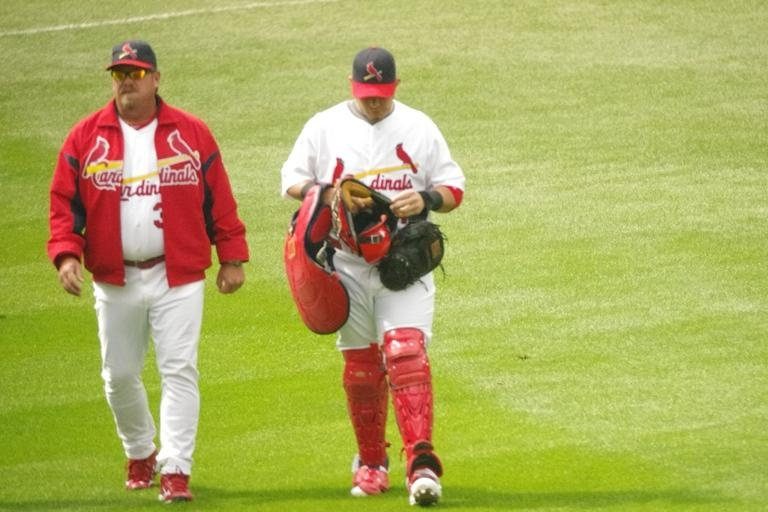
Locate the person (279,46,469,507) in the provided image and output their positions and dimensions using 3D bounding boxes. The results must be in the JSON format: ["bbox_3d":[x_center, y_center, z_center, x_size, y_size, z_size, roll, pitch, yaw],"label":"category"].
[{"bbox_3d":[-0.055,0.108,6.934,1.015,2.702,0.642,0,6,8],"label":"person"}]

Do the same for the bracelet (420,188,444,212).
[{"bbox_3d":[0.297,-0.335,6.962,0.148,0.100,0.124,-1,-20,27],"label":"bracelet"}]

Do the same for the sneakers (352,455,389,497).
[{"bbox_3d":[-0.087,1.325,7.157,0.245,0.115,0.381,6,26,10],"label":"sneakers"}]

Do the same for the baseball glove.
[{"bbox_3d":[0.143,-0.004,6.942,0.327,0.240,0.333,-45,-14,23],"label":"baseball glove"}]

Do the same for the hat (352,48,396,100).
[{"bbox_3d":[-0.047,-1.133,6.989,0.310,0.223,0.388,-4,40,-1],"label":"hat"}]

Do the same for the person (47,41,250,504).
[{"bbox_3d":[-1.397,0.085,6.946,1.167,2.735,0.456,-2,6,-6],"label":"person"}]

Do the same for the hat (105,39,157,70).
[{"bbox_3d":[-1.502,-1.199,6.957,0.272,0.183,0.165,-2,6,-12],"label":"hat"}]

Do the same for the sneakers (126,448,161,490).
[{"bbox_3d":[-1.470,1.320,7.181,0.131,0.132,0.326,-1,17,1],"label":"sneakers"}]

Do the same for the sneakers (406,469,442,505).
[{"bbox_3d":[0.240,1.341,6.747,0.184,0.214,0.083,-1,6,-4],"label":"sneakers"}]

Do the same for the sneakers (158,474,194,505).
[{"bbox_3d":[-1.205,1.369,6.847,0.125,0.087,0.234,1,-2,-25],"label":"sneakers"}]
